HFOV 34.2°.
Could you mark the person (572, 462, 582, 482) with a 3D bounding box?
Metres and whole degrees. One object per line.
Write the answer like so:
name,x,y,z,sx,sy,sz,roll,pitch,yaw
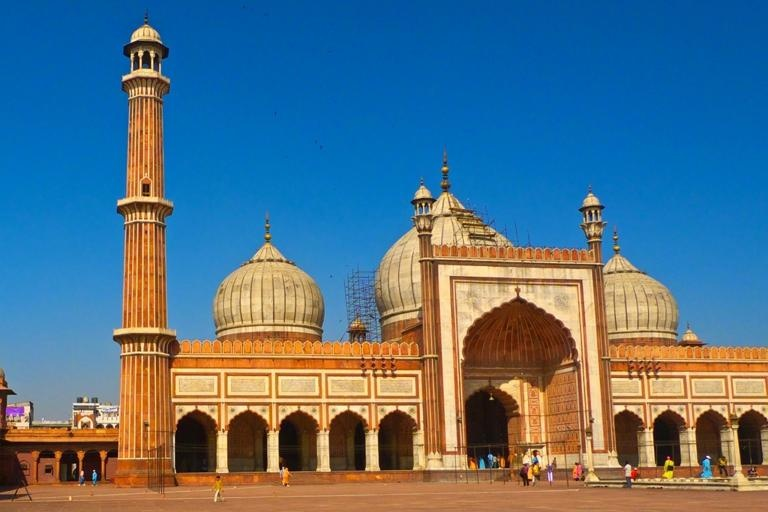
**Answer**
person,10.348,11.263,66.172,0.586,1.010,1.738,-4,-15,8
